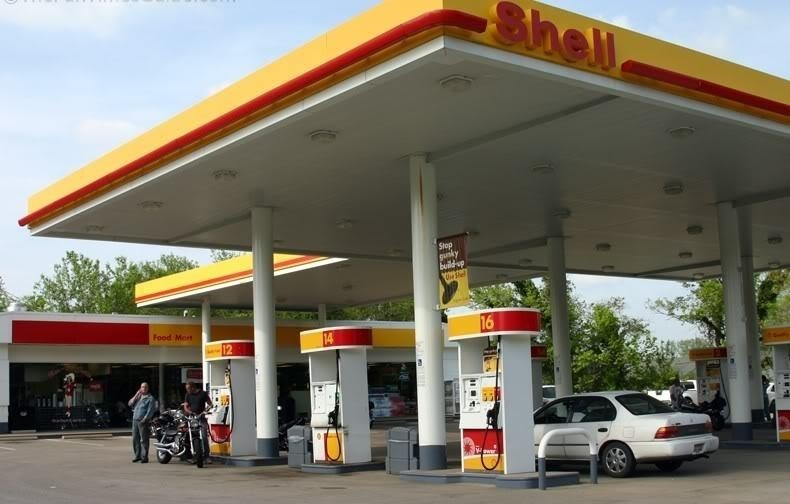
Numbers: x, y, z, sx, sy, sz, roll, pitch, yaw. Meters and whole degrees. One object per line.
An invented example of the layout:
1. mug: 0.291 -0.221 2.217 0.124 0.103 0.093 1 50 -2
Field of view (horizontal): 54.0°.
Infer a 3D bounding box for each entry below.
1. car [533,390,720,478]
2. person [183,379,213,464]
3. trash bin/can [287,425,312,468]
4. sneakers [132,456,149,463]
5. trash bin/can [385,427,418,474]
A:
1. car: 5.404 4.315 18.826 4.357 1.443 2.068 -5 -10 45
2. person: -5.805 5.074 22.469 1.119 1.428 2.350 -6 6 -15
3. trash bin/can: -2.567 5.313 21.121 0.467 1.111 1.094 6 -15 -30
4. sneakers: -7.620 6.200 23.118 0.544 0.229 0.182 6 -12 7
5. trash bin/can: 0.183 4.991 19.320 0.692 1.124 1.035 11 -14 -44
